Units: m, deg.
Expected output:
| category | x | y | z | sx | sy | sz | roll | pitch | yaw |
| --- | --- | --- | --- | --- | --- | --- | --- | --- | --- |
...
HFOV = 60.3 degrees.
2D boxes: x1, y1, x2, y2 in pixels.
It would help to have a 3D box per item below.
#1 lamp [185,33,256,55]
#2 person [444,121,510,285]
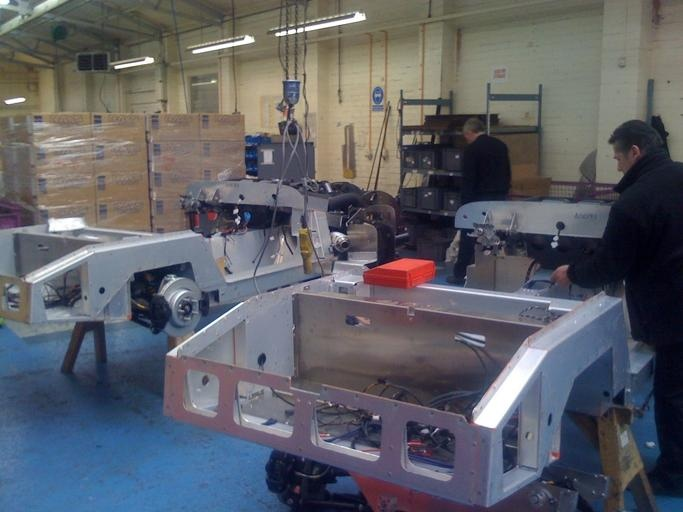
| category | x | y | z | sx | sy | sz | roll | pitch | yaw |
| --- | --- | --- | --- | --- | --- | --- | --- | --- | --- |
| lamp | -2.416 | -4.329 | 11.964 | 1.555 | 0.166 | 0.271 | 2 | 34 | 45 |
| person | 1.548 | -0.563 | 6.577 | 0.624 | 1.903 | 0.511 | 1 | 12 | 10 |
